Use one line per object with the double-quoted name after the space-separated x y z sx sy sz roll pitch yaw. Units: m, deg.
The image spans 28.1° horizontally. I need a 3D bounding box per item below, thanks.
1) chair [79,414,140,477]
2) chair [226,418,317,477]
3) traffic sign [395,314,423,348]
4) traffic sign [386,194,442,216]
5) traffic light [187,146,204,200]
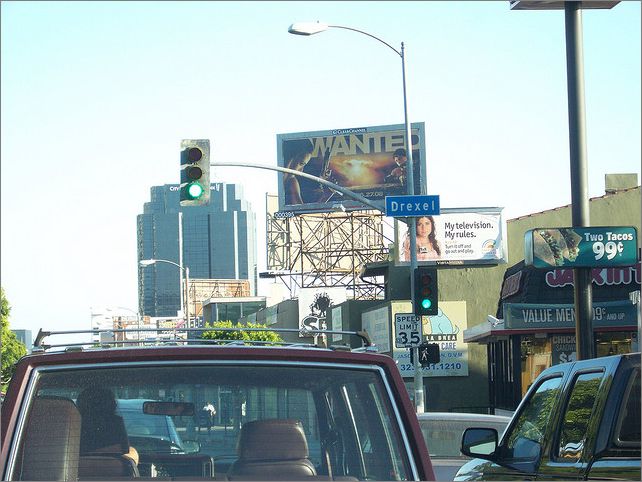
-1.342 1.343 8.464 0.340 0.471 0.393 2 -2 4 "chair"
-0.312 1.367 8.404 0.414 0.447 0.436 1 -6 2 "chair"
1.687 1.685 24.119 0.722 0.947 0.099 0 -2 -3 "traffic sign"
1.772 -0.648 24.584 1.023 0.442 0.733 1 -2 2 "traffic sign"
-2.105 -1.100 21.062 0.246 0.834 0.157 1 -2 -7 "traffic light"
